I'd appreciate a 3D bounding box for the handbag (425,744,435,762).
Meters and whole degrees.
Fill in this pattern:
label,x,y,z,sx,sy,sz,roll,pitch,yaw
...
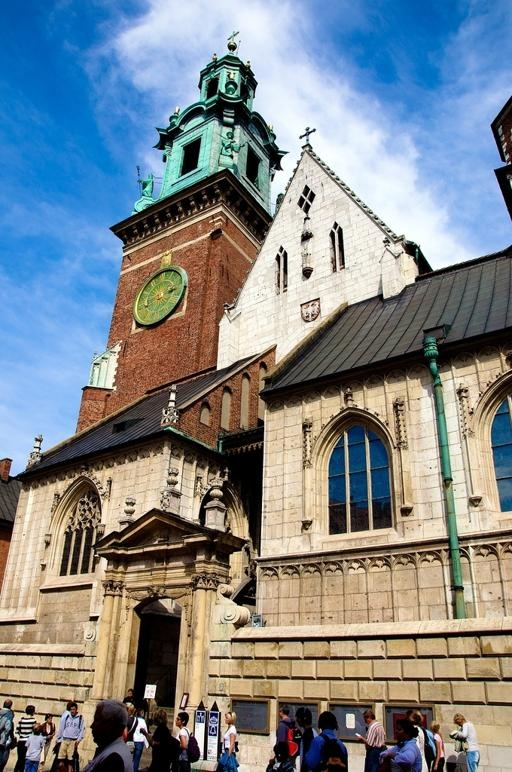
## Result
label,x,y,z,sx,sy,sz,roll,pitch,yaw
handbag,2.217,4.728,7.232,0.090,0.238,0.310,-9,-29,20
